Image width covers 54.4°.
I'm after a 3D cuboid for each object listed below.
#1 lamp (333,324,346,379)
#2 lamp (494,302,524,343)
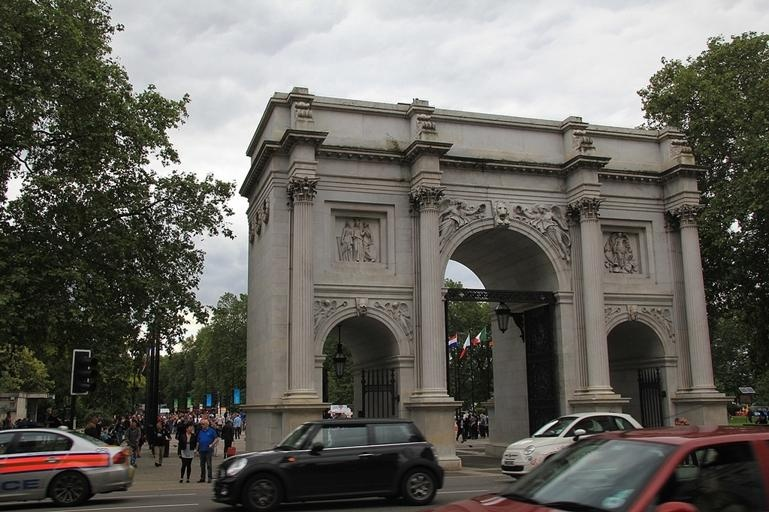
[{"bbox_3d":[-2.024,4.160,33.324,0.863,2.347,0.844,-1,-4,-5],"label":"lamp"},{"bbox_3d":[5.961,2.988,35.442,1.460,2.012,0.832,2,9,32],"label":"lamp"}]
